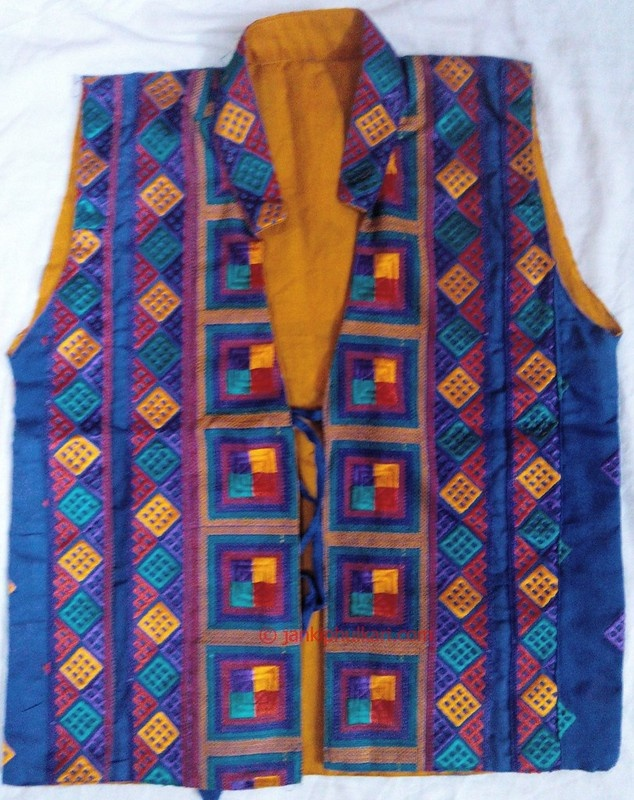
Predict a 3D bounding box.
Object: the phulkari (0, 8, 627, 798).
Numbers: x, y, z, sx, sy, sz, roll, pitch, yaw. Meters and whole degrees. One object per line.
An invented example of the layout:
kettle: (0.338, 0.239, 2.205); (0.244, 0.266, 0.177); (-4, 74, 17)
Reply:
phulkari: (-0.048, 0.007, 2.311); (0.960, 0.786, 0.917); (-8, 46, -4)
